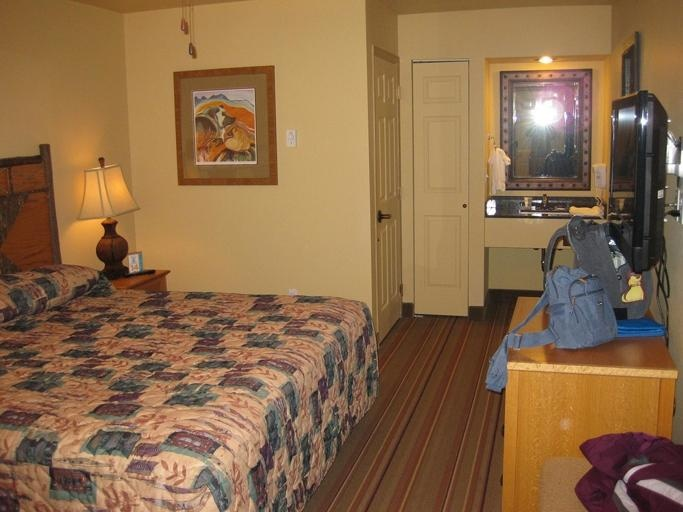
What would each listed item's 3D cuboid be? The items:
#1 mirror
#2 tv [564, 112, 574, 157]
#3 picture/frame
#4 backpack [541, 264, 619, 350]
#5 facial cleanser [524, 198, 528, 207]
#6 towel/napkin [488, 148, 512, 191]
[{"bbox_3d":[2.179,-1.391,5.493,1.183,1.741,0.068,0,4,11],"label":"mirror"},{"bbox_3d":[2.399,-1.287,5.465,0.103,0.434,0.079,4,15,22],"label":"tv"},{"bbox_3d":[-1.006,-1.222,4.647,1.009,1.124,0.041,1,7,10],"label":"picture/frame"},{"bbox_3d":[1.067,0.231,2.314,0.170,0.317,0.269,-7,12,46],"label":"backpack"},{"bbox_3d":[1.946,-0.567,5.513,0.063,0.137,0.071,0,6,19],"label":"facial cleanser"},{"bbox_3d":[1.682,-0.918,5.575,0.201,0.485,0.284,6,16,28],"label":"towel/napkin"}]
